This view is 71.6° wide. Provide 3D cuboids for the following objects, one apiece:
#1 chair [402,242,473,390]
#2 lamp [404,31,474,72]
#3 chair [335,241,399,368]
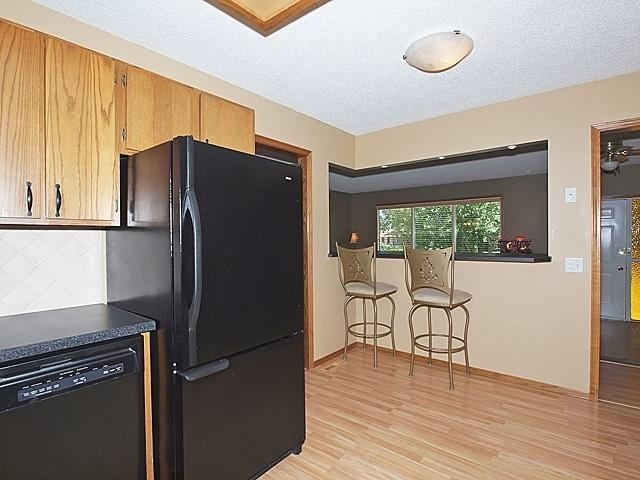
[{"bbox_3d":[1.174,0.694,4.403,0.687,1.382,0.842,2,13,13],"label":"chair"},{"bbox_3d":[0.891,-1.419,3.332,0.323,0.086,0.268,-4,-12,32],"label":"lamp"},{"bbox_3d":[0.532,0.649,4.964,0.722,1.358,0.676,11,18,42],"label":"chair"}]
